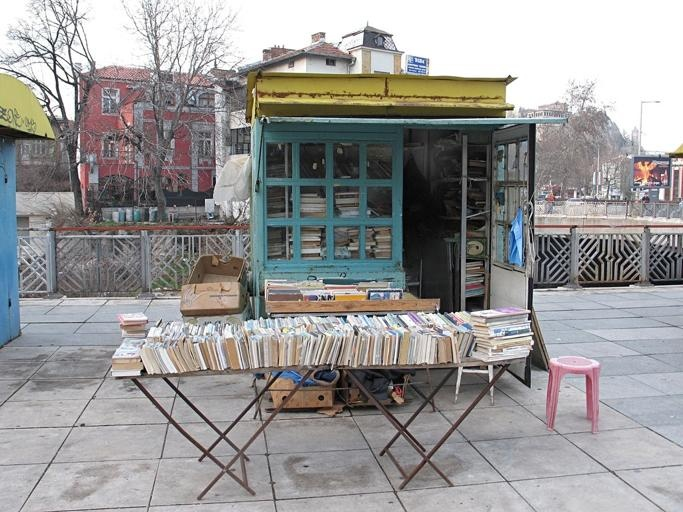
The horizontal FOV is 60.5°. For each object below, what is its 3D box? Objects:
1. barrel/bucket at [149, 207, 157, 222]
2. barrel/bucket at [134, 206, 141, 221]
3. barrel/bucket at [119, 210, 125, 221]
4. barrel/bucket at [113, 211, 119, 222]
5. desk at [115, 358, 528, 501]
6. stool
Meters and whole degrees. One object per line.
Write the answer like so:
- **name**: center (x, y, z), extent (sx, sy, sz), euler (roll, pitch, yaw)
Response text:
- **barrel/bucket**: center (-12.070, -2.648, 37.590), extent (0.418, 0.758, 3.172), euler (-3, 10, -19)
- **barrel/bucket**: center (-13.236, -2.698, 38.166), extent (0.485, 0.678, 1.126), euler (-3, 10, -19)
- **barrel/bucket**: center (-14.263, -2.629, 38.244), extent (0.318, 0.569, 0.774), euler (-3, 10, -20)
- **barrel/bucket**: center (-14.804, -2.635, 38.510), extent (0.337, 0.527, 1.447), euler (-4, 10, -26)
- **desk**: center (-0.152, 1.387, 5.737), extent (2.773, 1.024, 1.728), euler (-1, 9, -6)
- **stool**: center (2.489, 1.472, 6.371), extent (0.733, 0.759, 0.702), euler (0, 1, 9)
